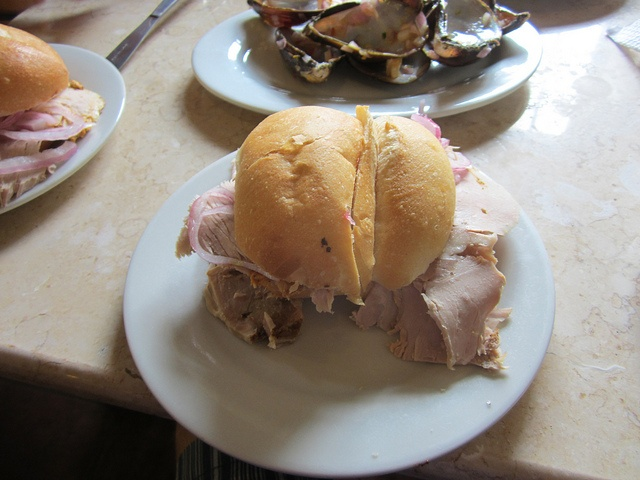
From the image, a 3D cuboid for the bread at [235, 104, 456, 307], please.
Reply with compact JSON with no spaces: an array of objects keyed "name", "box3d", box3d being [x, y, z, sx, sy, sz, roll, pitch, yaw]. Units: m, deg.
[{"name":"bread","box3d":[0.046,-0.086,1.199,0.343,0.139,0.374,1,62,-1]}]
